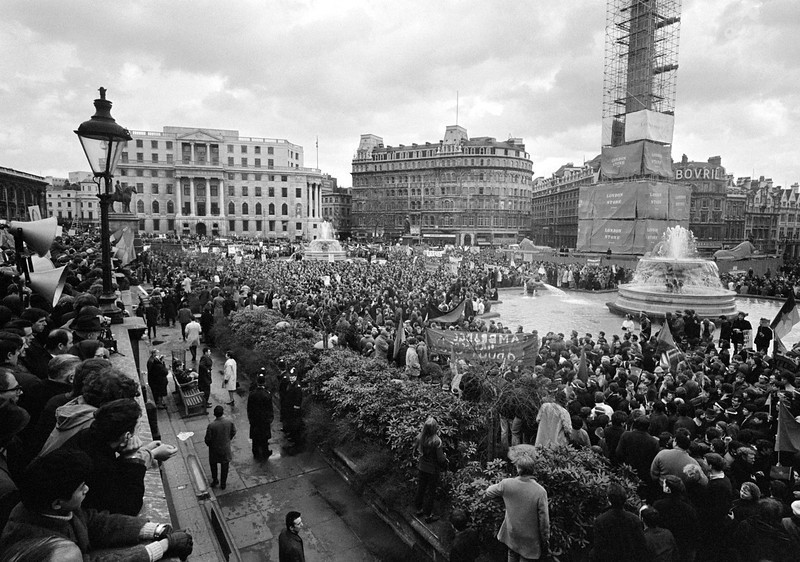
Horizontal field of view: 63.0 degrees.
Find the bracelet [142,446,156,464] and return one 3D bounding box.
[{"bbox_3d":[-3.943,2.779,10.233,0.108,0.274,0.155,-22,27,-37],"label":"bracelet"}]

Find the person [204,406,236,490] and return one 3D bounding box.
[{"bbox_3d":[-4.152,3.807,15.044,0.648,1.899,0.521,1,17,-16],"label":"person"}]

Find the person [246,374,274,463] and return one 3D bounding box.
[{"bbox_3d":[-3.499,3.390,16.241,0.641,2.037,0.691,1,5,-13],"label":"person"}]

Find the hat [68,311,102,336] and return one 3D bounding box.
[{"bbox_3d":[-6.208,0.864,12.900,0.424,0.531,0.559,6,18,-17],"label":"hat"}]

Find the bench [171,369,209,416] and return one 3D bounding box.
[{"bbox_3d":[-5.988,3.381,18.725,0.742,0.782,1.847,-7,26,-23],"label":"bench"}]

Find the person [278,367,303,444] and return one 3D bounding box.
[{"bbox_3d":[-2.869,3.283,17.218,0.529,1.772,1.147,1,5,-13],"label":"person"}]

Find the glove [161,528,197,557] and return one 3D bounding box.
[{"bbox_3d":[-3.246,3.844,9.648,0.314,0.405,0.415,3,0,7],"label":"glove"}]

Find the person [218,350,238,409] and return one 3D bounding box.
[{"bbox_3d":[-5.139,2.765,19.664,0.475,1.588,1.925,1,5,-14],"label":"person"}]

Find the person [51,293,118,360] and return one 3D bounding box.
[{"bbox_3d":[-6.366,0.929,13.100,0.838,1.732,0.888,-12,-18,8],"label":"person"}]
